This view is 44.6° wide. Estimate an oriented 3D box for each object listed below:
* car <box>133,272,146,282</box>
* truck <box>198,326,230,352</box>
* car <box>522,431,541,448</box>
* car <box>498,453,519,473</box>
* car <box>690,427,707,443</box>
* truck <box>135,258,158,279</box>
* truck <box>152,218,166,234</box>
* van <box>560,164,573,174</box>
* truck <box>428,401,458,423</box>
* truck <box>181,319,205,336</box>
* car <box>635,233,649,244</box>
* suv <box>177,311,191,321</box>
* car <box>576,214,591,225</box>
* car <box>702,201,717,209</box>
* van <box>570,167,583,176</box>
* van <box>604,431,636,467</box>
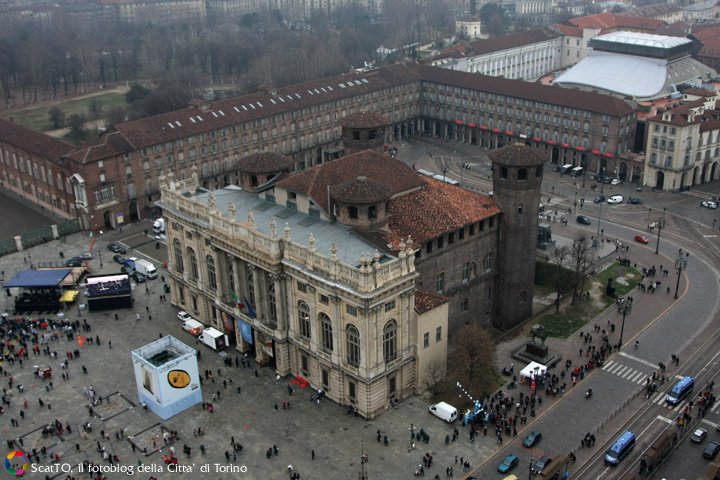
[{"bbox_3d":[-53.617,9.137,211.801,3.063,0.914,1.700,34,51,23],"label":"car"},{"bbox_3d":[-31.656,20.853,189.629,6.304,3.241,3.471,29,41,27],"label":"truck"},{"bbox_3d":[32.918,38.029,167.655,3.963,1.523,1.885,-24,36,-25],"label":"car"},{"bbox_3d":[27.532,42.110,163.573,4.766,1.583,1.990,-34,50,-15],"label":"car"},{"bbox_3d":[65.115,37.566,168.448,3.079,1.931,1.782,-13,29,-16],"label":"car"},{"bbox_3d":[-51.954,6.783,213.137,5.911,3.195,3.496,27,42,31],"label":"truck"},{"bbox_3d":[-52.601,-3.709,228.995,3.061,3.076,5.266,7,15,14],"label":"truck"},{"bbox_3d":[62.183,-22.011,264.327,3.548,1.915,2.144,-31,42,-21],"label":"van"},{"bbox_3d":[16.309,33.394,172.114,5.014,2.570,3.152,25,37,36],"label":"truck"},{"bbox_3d":[-36.836,19.327,194.195,4.590,2.233,2.946,31,53,22],"label":"truck"},{"bbox_3d":[71.714,-0.408,224.406,3.376,1.653,1.863,22,40,41],"label":"car"},{"bbox_3d":[-39.807,17.041,197.409,3.170,1.633,1.691,13,31,41],"label":"suv"},{"bbox_3d":[59.348,-5.496,233.082,2.161,1.532,2.907,-34,42,-30],"label":"car"},{"bbox_3d":[95.391,-9.891,240.313,2.975,1.017,1.973,25,45,36],"label":"car"},{"bbox_3d":[64.534,-21.034,262.628,3.831,2.313,1.845,-24,37,-24],"label":"van"},{"bbox_3d":[49.173,39.226,166.629,8.894,3.510,3.179,-31,38,-26],"label":"van"}]
